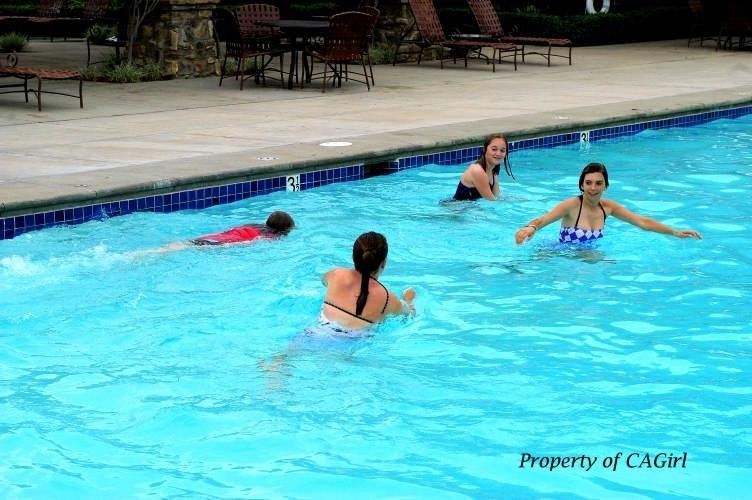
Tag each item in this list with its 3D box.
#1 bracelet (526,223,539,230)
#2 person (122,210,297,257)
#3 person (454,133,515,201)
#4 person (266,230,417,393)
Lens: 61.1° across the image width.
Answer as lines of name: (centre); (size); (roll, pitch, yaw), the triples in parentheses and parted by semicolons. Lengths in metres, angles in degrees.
bracelet: (1.448, -0.219, 5.862); (0.079, 0.028, 0.096); (7, 3, 32)
person: (-1.393, -0.186, 6.167); (1.369, 0.355, 0.447); (-5, 8, -41)
person: (1.193, -0.956, 7.376); (0.585, 0.750, 0.445); (0, 8, 3)
person: (-0.310, 0.353, 4.459); (0.840, 0.527, 1.521); (23, 29, 20)
